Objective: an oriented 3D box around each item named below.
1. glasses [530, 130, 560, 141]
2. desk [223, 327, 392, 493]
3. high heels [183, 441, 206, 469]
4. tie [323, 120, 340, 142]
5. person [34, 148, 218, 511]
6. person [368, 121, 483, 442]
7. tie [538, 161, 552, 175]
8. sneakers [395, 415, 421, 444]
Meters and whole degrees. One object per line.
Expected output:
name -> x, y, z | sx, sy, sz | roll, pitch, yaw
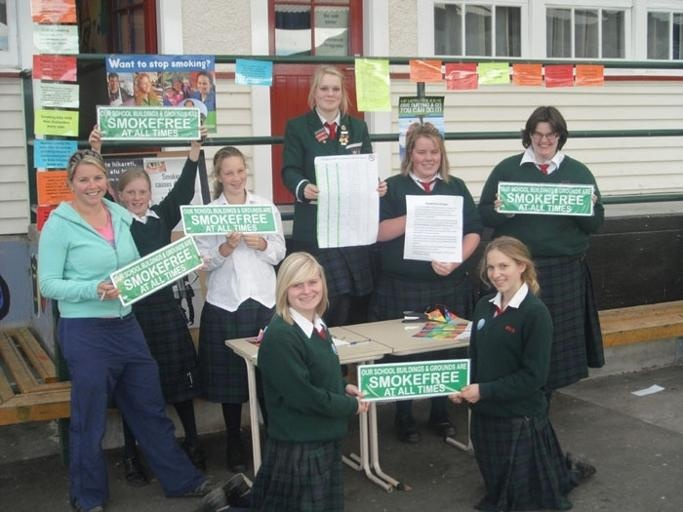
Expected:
glasses -> 1.377, -0.805, 5.043 | 0.177, 0.062, 0.080 | 2, 15, 12
desk -> -0.168, 0.932, 4.895 | 1.054, 1.004, 0.990 | -8, 15, -33
high heels -> -0.998, 1.339, 5.078 | 0.082, 0.107, 0.251 | -5, 17, -30
tie -> -0.066, -0.859, 5.126 | 0.082, 0.136, 0.032 | -6, 8, -13
person -> -1.385, 0.461, 4.503 | 0.741, 2.146, 0.469 | -7, 15, -21
person -> 0.609, 0.126, 5.289 | 0.752, 2.030, 0.750 | -3, 15, -8
tie -> 1.399, -0.606, 5.169 | 0.093, 0.093, 0.028 | 1, 3, -1
sneakers -> 0.469, 1.245, 5.340 | 0.092, 0.096, 0.227 | -2, 4, -26
